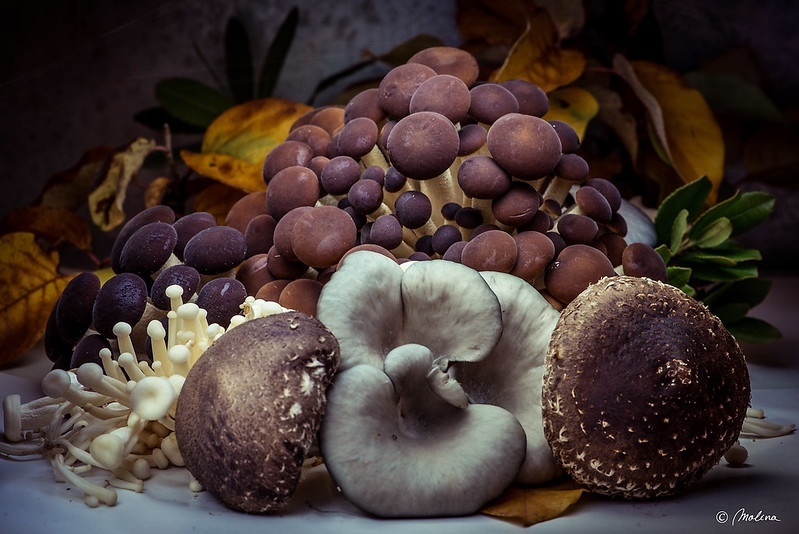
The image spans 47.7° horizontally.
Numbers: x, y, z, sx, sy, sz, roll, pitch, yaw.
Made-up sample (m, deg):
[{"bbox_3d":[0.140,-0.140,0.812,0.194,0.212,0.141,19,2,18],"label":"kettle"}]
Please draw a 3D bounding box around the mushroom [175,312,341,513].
[{"bbox_3d":[-0.319,0.379,2.191,0.435,0.246,0.410,-13,67,29],"label":"mushroom"}]
